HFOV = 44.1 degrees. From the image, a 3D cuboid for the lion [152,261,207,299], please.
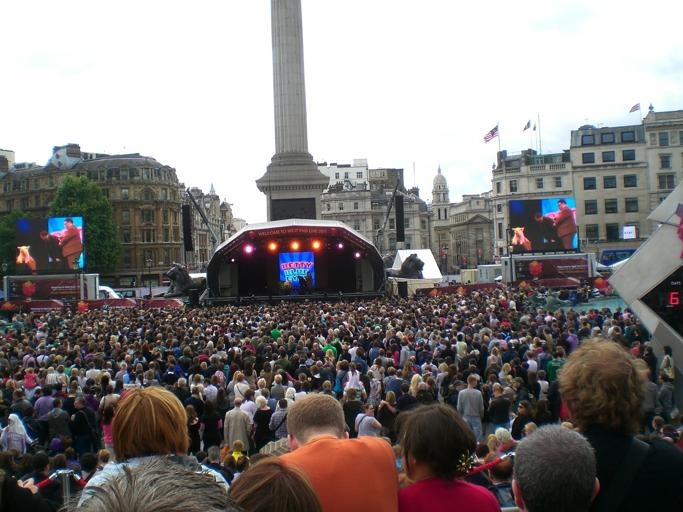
[{"bbox_3d":[-9.210,1.578,50.740,1.331,1.958,4.133,0,-5,41],"label":"lion"}]
